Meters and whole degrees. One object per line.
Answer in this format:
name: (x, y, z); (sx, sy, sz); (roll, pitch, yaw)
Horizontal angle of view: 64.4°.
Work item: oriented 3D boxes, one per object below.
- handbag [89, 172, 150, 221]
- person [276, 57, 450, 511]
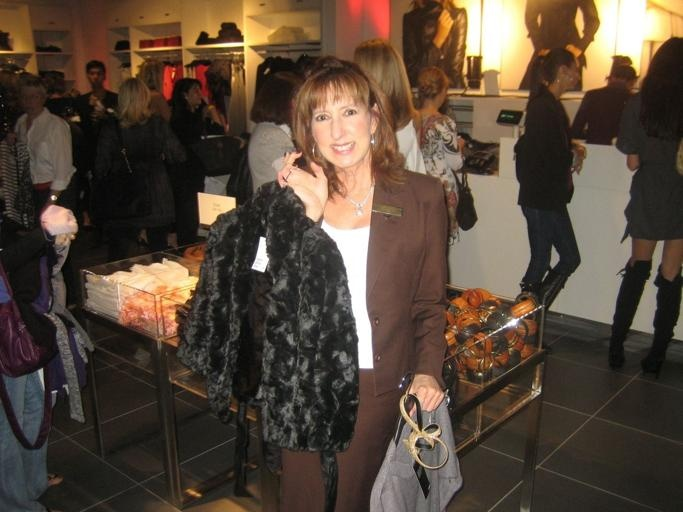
handbag: (-1.868, -0.491, 4.684); (0.388, 0.431, 0.161); (-2, 12, 2)
person: (0.066, 0.110, 1.911); (0.594, 1.526, 0.477); (2, 15, 3)
